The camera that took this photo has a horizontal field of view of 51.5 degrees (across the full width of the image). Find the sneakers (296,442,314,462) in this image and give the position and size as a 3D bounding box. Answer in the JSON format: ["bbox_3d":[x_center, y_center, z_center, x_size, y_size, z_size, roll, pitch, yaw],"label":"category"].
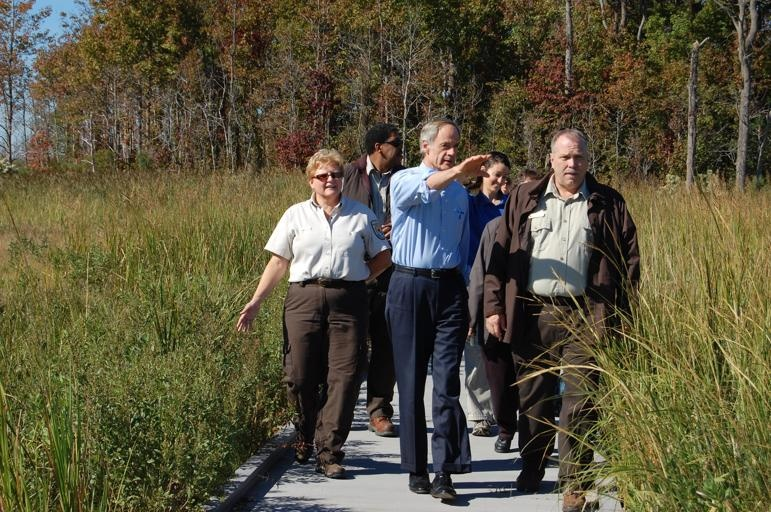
[{"bbox_3d":[-0.793,1.890,7.705,0.162,0.200,0.175,4,-3,-41],"label":"sneakers"}]

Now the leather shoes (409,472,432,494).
[{"bbox_3d":[0.323,2.033,7.160,0.108,0.120,0.235,1,-2,-19],"label":"leather shoes"}]
